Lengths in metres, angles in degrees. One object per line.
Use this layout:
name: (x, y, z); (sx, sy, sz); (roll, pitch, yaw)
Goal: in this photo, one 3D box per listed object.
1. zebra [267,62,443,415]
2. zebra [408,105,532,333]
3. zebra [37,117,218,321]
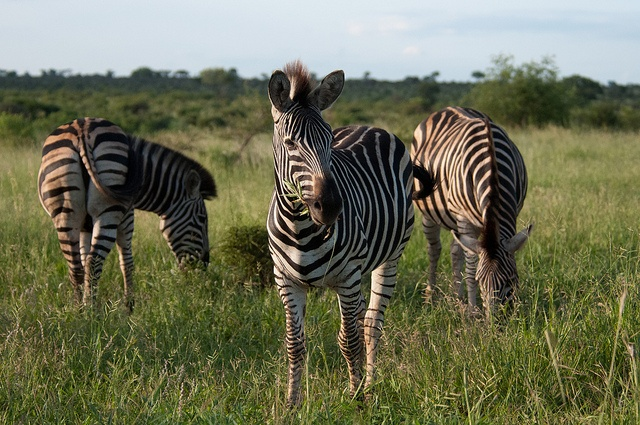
zebra: (0.444, 0.323, 11.321); (1.685, 4.509, 5.715); (0, 6, 17)
zebra: (2.402, 0.078, 12.832); (1.408, 2.853, 4.701); (-8, 12, 1)
zebra: (-3.784, 0.043, 13.134); (1.145, 2.746, 4.269); (-5, 3, -20)
